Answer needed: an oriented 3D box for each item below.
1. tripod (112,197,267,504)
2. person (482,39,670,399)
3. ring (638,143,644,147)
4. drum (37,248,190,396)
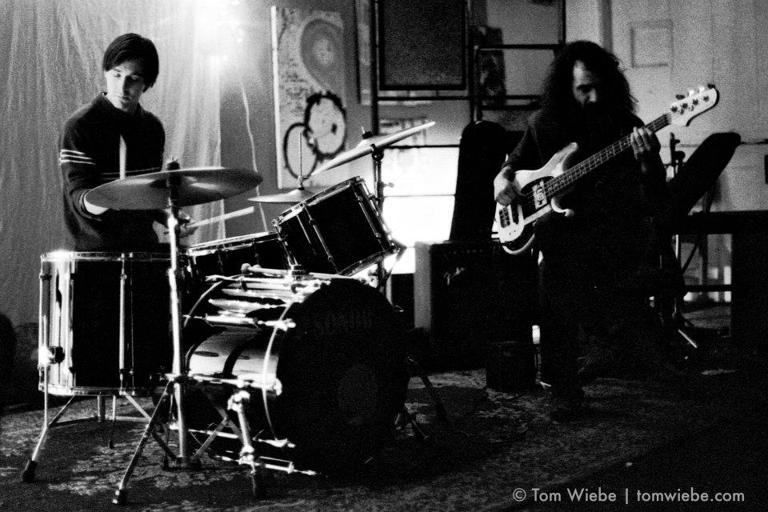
[{"bbox_3d":[-1.168,0.442,4.488,0.768,1.575,0.860,-5,13,-10],"label":"tripod"},{"bbox_3d":[1.397,-0.228,5.442,1.059,2.409,0.882,-12,16,-36],"label":"person"},{"bbox_3d":[1.605,-0.699,5.037,0.029,0.018,0.028,0,2,0],"label":"ring"},{"bbox_3d":[-1.634,0.401,5.118,0.974,0.818,0.885,0,-2,-11],"label":"drum"}]
